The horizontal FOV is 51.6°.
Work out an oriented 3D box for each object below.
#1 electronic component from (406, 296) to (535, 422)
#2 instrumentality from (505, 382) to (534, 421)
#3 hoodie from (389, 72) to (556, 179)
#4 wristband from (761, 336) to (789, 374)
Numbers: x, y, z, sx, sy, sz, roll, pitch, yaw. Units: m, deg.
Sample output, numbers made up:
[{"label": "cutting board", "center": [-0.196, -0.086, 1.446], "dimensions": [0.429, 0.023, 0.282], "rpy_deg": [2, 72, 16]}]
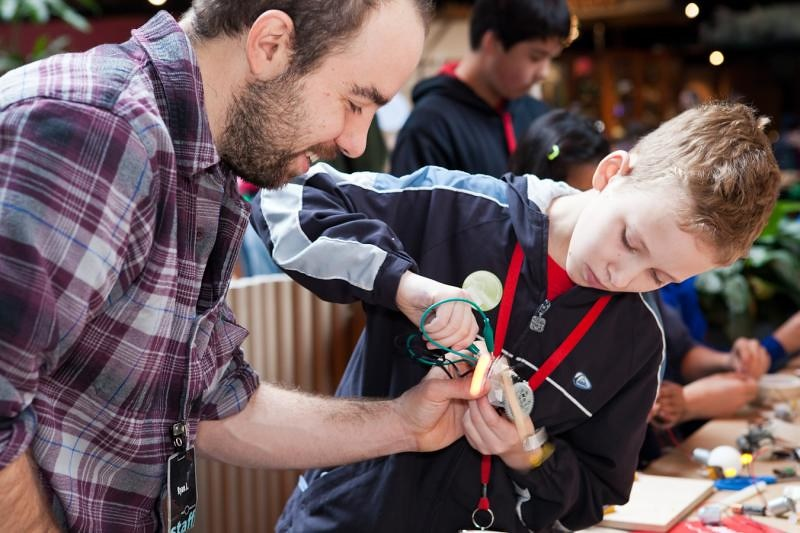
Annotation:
[{"label": "electronic component", "center": [0.205, 0.258, 2.263], "dimensions": [0.186, 0.383, 0.099], "rpy_deg": [-20, -22, -41]}, {"label": "instrumentality", "center": [0.330, 0.372, 2.296], "dimensions": [0.085, 0.092, 0.019], "rpy_deg": [13, -7, -41]}, {"label": "hoodie", "center": [0.307, -0.570, 3.393], "dimensions": [0.522, 0.517, 0.205], "rpy_deg": [-10, 16, -31]}, {"label": "wristband", "center": [1.501, 0.352, 3.322], "dimensions": [0.102, 0.133, 0.046], "rpy_deg": [-20, -4, -13]}]
